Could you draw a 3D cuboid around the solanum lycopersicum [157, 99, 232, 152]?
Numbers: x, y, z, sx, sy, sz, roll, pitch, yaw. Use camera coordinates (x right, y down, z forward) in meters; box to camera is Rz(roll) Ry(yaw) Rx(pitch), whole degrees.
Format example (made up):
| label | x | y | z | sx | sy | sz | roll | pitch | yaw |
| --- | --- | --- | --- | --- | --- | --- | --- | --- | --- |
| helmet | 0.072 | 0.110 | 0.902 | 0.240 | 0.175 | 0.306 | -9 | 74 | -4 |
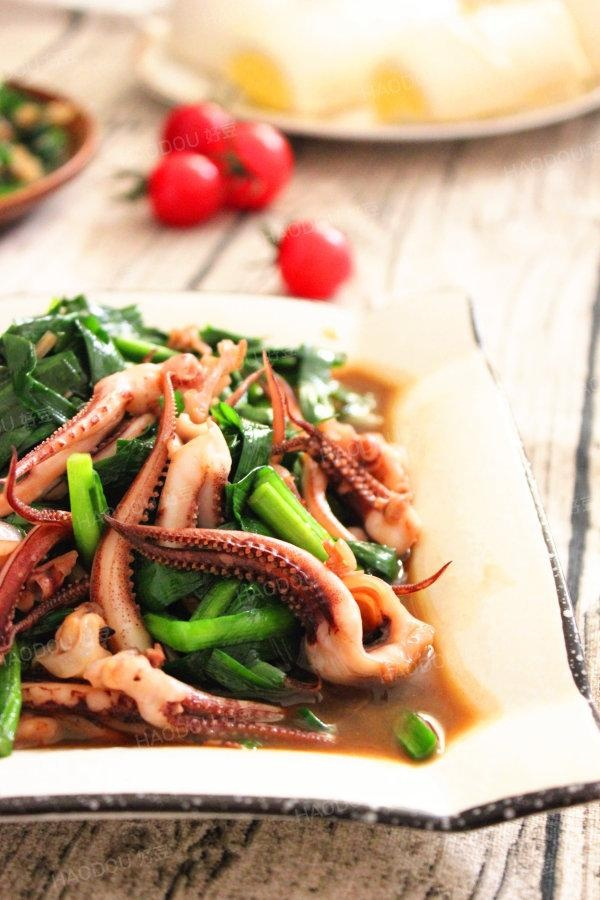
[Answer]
| label | x | y | z | sx | sy | sz | roll | pitch | yaw |
| --- | --- | --- | --- | --- | --- | --- | --- | --- | --- |
| solanum lycopersicum | -0.367 | -1.125 | 2.850 | 0.231 | 0.214 | 0.263 | -3 | 7 | 6 |
